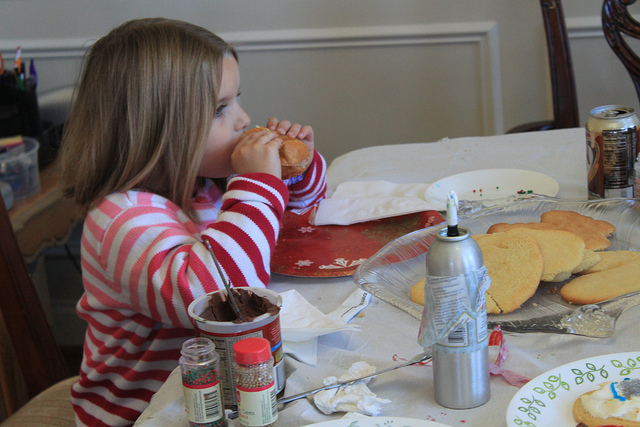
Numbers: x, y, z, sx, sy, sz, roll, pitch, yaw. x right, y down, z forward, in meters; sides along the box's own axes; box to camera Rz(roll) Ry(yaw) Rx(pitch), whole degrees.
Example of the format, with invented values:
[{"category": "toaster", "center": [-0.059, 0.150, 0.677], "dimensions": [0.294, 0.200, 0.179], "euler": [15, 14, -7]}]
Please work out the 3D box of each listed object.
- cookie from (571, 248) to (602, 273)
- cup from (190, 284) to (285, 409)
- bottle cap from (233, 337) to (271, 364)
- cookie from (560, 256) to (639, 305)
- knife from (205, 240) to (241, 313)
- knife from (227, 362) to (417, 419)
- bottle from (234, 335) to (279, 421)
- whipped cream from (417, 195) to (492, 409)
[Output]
[{"category": "cookie", "center": [0.537, 0.096, 1.139], "dimensions": [0.043, 0.011, 0.045], "euler": [-30, 19, 7]}, {"category": "cup", "center": [-0.104, 0.217, 1.004], "dimensions": [0.186, 0.197, 0.189], "euler": [-2, 18, 1]}, {"category": "bottle cap", "center": [-0.110, 0.220, 0.897], "dimensions": [0.053, 0.028, 0.050], "euler": [-14, 15, -38]}, {"category": "cookie", "center": [0.544, 0.135, 1.073], "dimensions": [0.186, 0.016, 0.071], "euler": [-20, 25, -19]}, {"category": "knife", "center": [-0.197, 0.131, 1.123], "dimensions": [0.013, 0.126, 0.007], "euler": [-29, -8, 13]}, {"category": "knife", "center": [0.004, 0.302, 0.945], "dimensions": [0.296, 0.024, 0.032], "euler": [-16, -2, -21]}, {"category": "bottle", "center": [-0.101, 0.278, 0.913], "dimensions": [0.062, 0.149, 0.074], "euler": [-1, 13, 21]}, {"category": "whipped cream", "center": [0.219, 0.151, 0.934], "dimensions": [0.122, 0.325, 0.130], "euler": [-1, 5, 30]}]
